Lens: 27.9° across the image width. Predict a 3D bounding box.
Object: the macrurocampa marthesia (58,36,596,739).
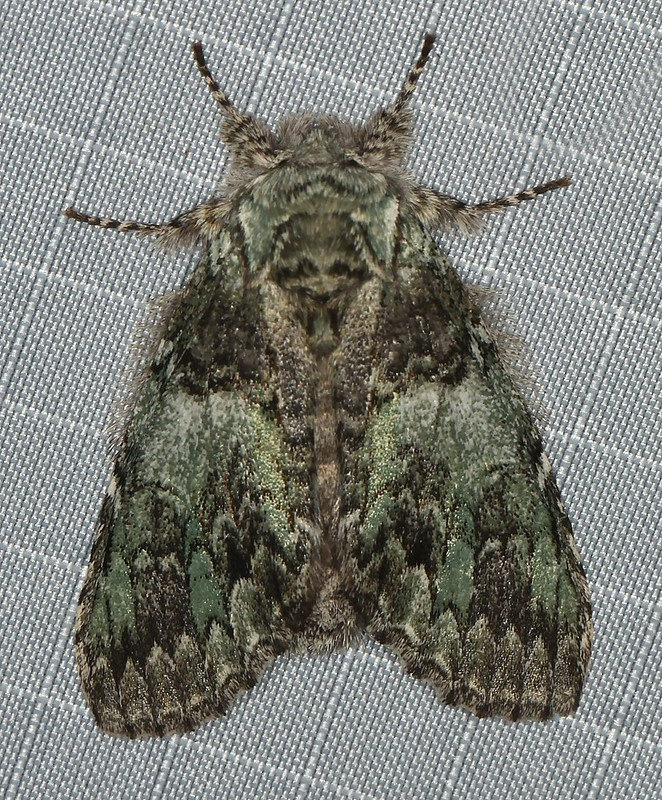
[{"bbox_3d":[-0.033,-0.037,4.369,1.462,0.492,2.300,-3,95,1],"label":"macrurocampa marthesia"}]
